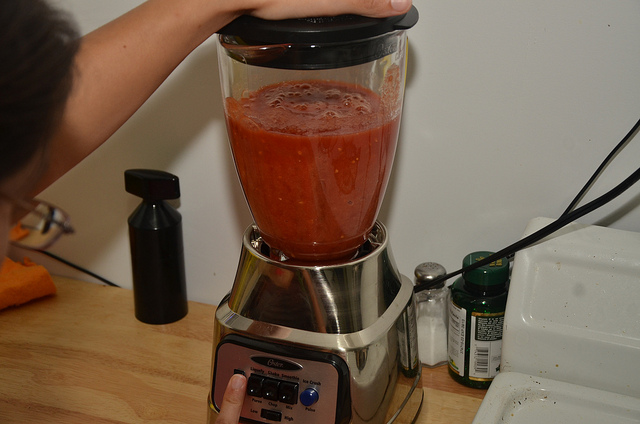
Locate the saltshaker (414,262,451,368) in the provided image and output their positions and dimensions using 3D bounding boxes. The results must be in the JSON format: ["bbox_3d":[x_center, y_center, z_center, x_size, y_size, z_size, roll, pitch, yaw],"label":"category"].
[{"bbox_3d":[0.197,0.178,1.030,0.068,0.168,0.103,3,39,4],"label":"saltshaker"}]

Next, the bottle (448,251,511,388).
[{"bbox_3d":[0.264,0.182,0.985,0.092,0.196,0.121,6,40,9],"label":"bottle"}]
